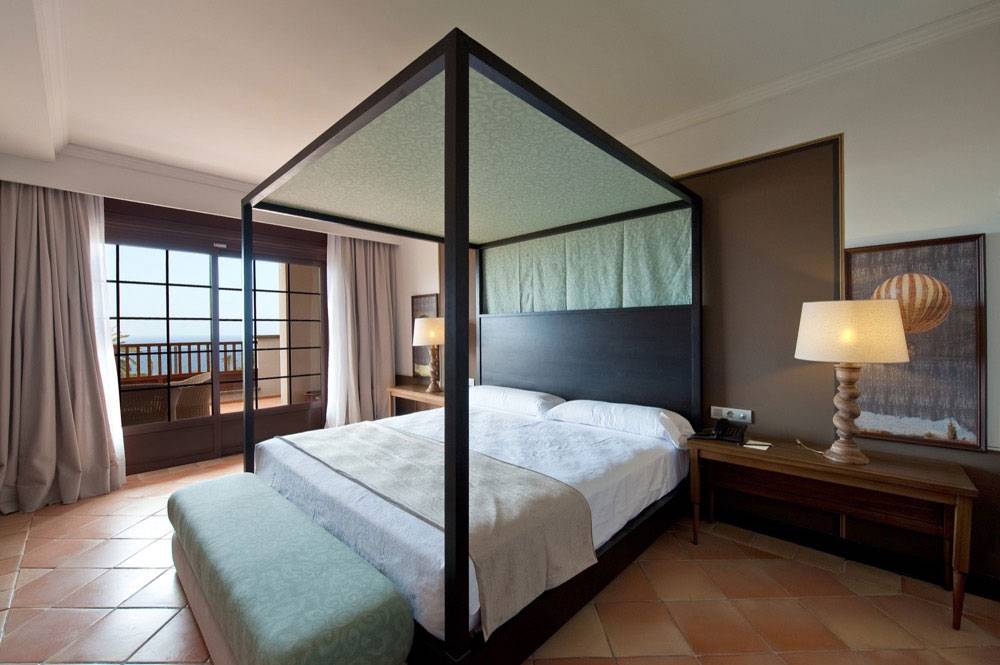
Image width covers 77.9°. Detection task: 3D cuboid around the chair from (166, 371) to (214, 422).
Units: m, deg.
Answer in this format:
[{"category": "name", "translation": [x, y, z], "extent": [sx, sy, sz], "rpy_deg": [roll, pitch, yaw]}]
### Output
[{"category": "chair", "translation": [-3.255, 0.687, 6.558], "extent": [0.422, 0.445, 0.375], "rpy_deg": [-4, 6, -40]}]

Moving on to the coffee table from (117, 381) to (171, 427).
[{"category": "coffee table", "translation": [-3.516, 0.686, 6.287], "extent": [0.329, 0.535, 0.584], "rpy_deg": [0, -2, 42]}]

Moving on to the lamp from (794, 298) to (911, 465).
[{"category": "lamp", "translation": [2.497, 0.348, 4.386], "extent": [0.660, 0.834, 0.252], "rpy_deg": [-3, 1, 4]}]

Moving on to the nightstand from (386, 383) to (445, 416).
[{"category": "nightstand", "translation": [-0.917, 0.752, 6.812], "extent": [0.233, 0.343, 0.608], "rpy_deg": [-6, 6, -44]}]
